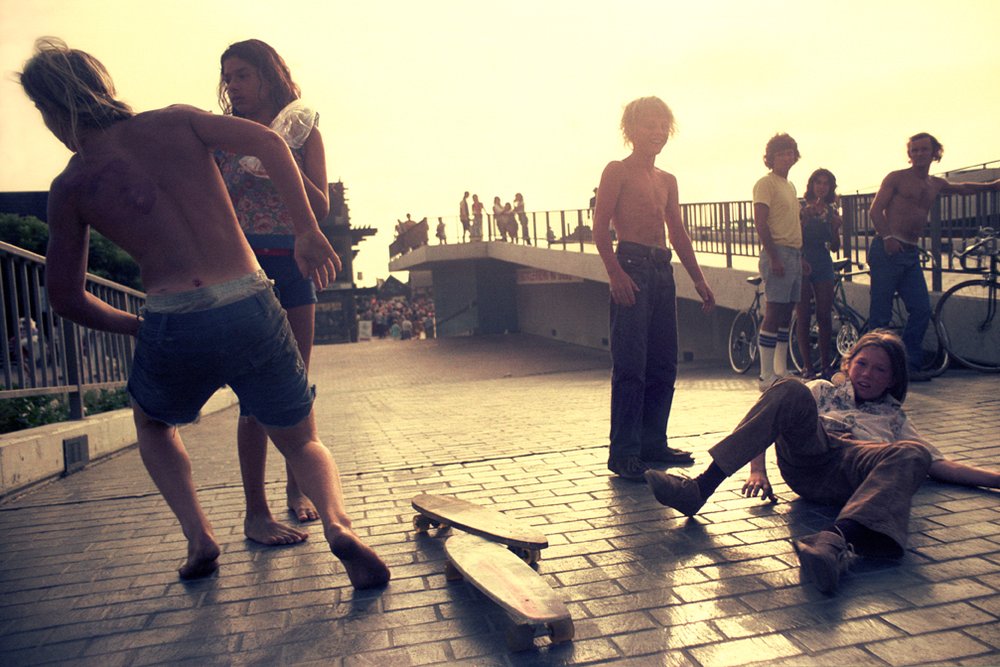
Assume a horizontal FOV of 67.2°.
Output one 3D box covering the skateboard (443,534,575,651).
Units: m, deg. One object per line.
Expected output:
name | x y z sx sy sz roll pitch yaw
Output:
skateboard | 0.012 1.212 3.716 0.259 0.171 0.794 -1 9 -22

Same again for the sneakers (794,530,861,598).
sneakers | 1.612 1.149 3.853 0.191 0.165 0.457 -10 14 -10

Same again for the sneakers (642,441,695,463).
sneakers | 1.271 0.896 5.794 0.434 0.199 0.151 -2 1 -3

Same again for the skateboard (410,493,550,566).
skateboard | -0.145 1.008 4.244 0.293 0.193 0.937 -1 7 -33

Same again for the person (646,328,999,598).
person | 1.893 0.613 4.386 1.502 1.089 1.121 -8 9 -34

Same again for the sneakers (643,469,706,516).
sneakers | 1.021 0.947 4.537 0.401 0.197 0.197 34 18 -7
